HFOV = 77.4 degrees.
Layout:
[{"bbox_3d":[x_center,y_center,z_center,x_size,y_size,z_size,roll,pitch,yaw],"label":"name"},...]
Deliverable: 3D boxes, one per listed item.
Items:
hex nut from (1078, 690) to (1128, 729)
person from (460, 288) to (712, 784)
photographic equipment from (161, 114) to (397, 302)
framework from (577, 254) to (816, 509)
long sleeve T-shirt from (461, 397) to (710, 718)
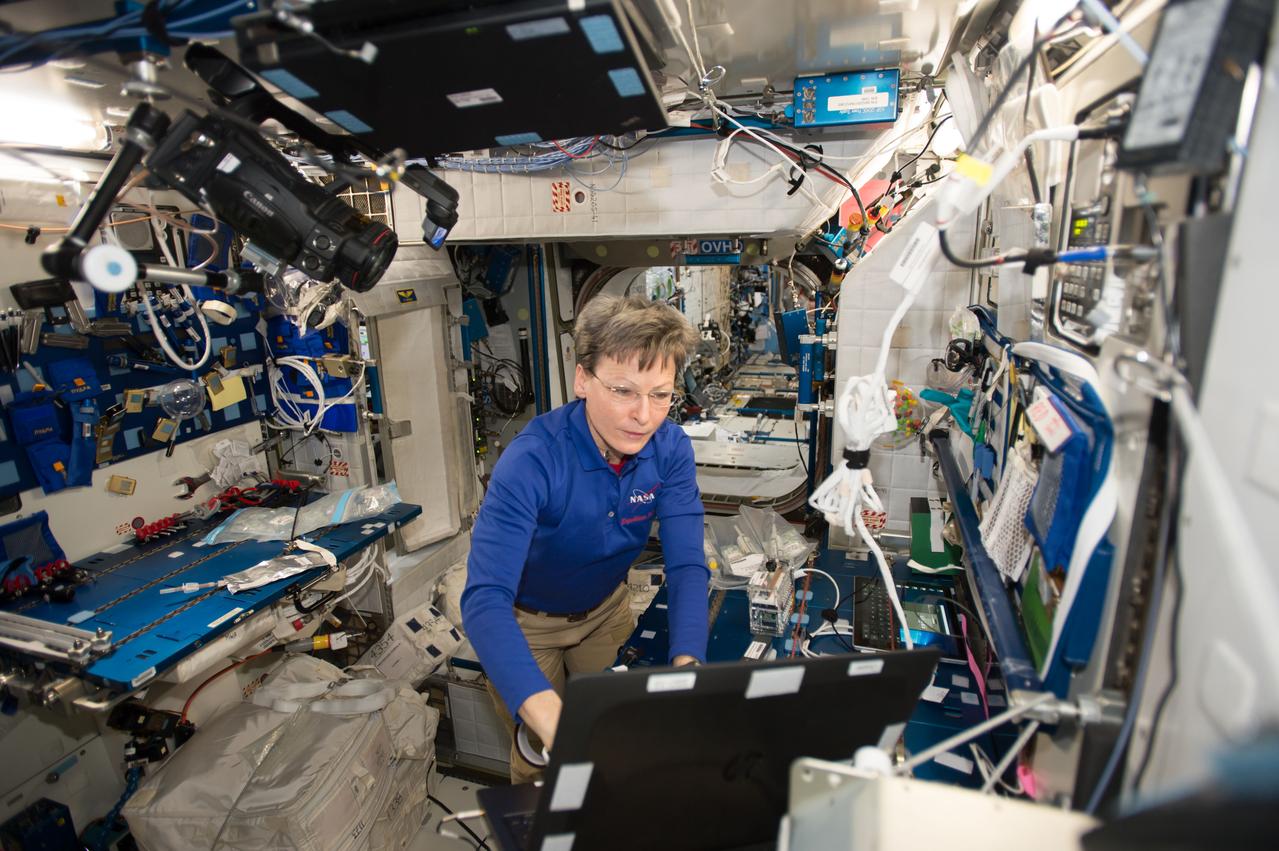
[{"bbox_3d":[1.116,0.685,1.939,0.112,0.073,0.053,1,9,9],"label":"hex nut"},{"bbox_3d":[-0.179,0.386,2.763,0.931,1.625,1.049,-5,10,-26],"label":"person"},{"bbox_3d":[-1.189,-0.691,2.781,0.791,0.293,0.435,30,39,-25],"label":"photographic equipment"},{"bbox_3d":[0.704,-0.161,7.872,2.003,1.842,2.925,1,25,8],"label":"framework"},{"bbox_3d":[-0.160,0.421,2.790,0.928,0.963,0.824,17,17,40],"label":"long sleeve T-shirt"}]
